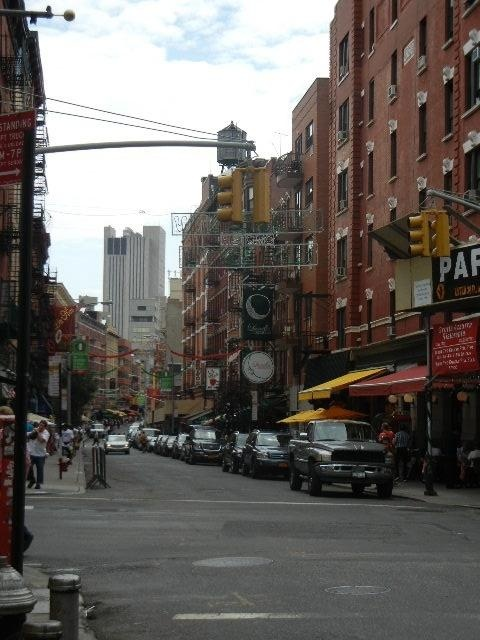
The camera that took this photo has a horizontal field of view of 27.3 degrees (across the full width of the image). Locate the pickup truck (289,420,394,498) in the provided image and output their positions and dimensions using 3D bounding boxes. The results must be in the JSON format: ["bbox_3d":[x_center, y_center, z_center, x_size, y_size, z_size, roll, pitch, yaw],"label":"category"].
[{"bbox_3d":[2.288,3.422,23.876,1.777,2.038,4.175,3,-9,-6],"label":"pickup truck"}]

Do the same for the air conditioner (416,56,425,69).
[{"bbox_3d":[5.755,-8.087,31.309,0.185,0.443,0.373,5,-8,-38],"label":"air conditioner"}]

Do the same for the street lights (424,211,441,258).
[{"bbox_3d":[3.550,-1.498,17.961,0.293,0.914,1.264,0,-7,11],"label":"street lights"}]

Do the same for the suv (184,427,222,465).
[{"bbox_3d":[-1.704,5.895,45.310,0.882,1.221,2.277,1,-12,-9],"label":"suv"}]

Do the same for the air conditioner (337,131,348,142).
[{"bbox_3d":[4.200,-7.333,40.481,0.263,0.494,0.560,1,-4,-5],"label":"air conditioner"}]

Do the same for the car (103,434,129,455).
[{"bbox_3d":[-8.454,8.696,67.886,1.447,1.147,2.676,3,-8,-14],"label":"car"}]
